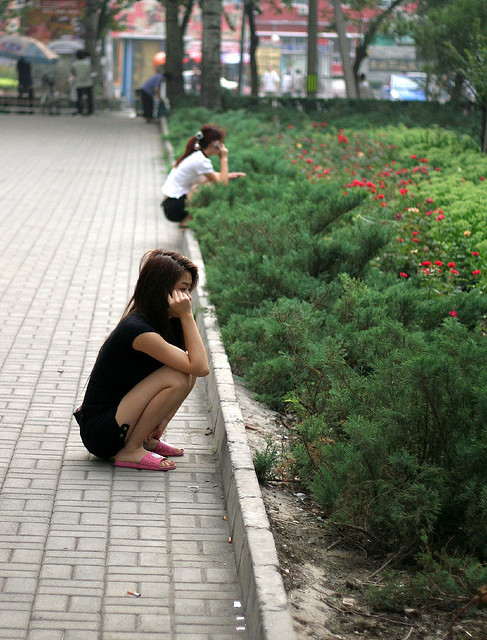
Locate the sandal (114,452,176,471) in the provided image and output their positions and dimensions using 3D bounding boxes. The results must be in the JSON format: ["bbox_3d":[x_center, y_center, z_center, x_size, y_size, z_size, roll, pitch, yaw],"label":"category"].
[{"bbox_3d":[-0.508,0.724,3.436,0.294,0.071,0.107,0,-4,6],"label":"sandal"}]

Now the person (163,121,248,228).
[{"bbox_3d":[-0.565,-1.897,9.172,1.128,1.462,0.721,4,25,-14],"label":"person"}]

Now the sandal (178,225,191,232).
[{"bbox_3d":[-0.843,-1.289,9.303,0.217,0.047,0.191,-7,24,-9],"label":"sandal"}]

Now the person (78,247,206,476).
[{"bbox_3d":[-0.510,0.224,3.508,0.753,1.043,0.718,0,4,-31],"label":"person"}]

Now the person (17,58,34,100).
[{"bbox_3d":[-8.641,-9.385,26.075,0.638,1.380,1.423,-5,15,-16],"label":"person"}]

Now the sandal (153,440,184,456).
[{"bbox_3d":[-0.413,0.702,3.610,0.190,0.071,0.061,-1,4,-3],"label":"sandal"}]

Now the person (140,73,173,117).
[{"bbox_3d":[-3.245,-8.402,24.671,0.969,1.507,3.385,-4,14,-13],"label":"person"}]

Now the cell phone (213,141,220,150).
[{"bbox_3d":[-0.361,-2.321,8.798,0.027,0.100,0.111,15,22,31],"label":"cell phone"}]
